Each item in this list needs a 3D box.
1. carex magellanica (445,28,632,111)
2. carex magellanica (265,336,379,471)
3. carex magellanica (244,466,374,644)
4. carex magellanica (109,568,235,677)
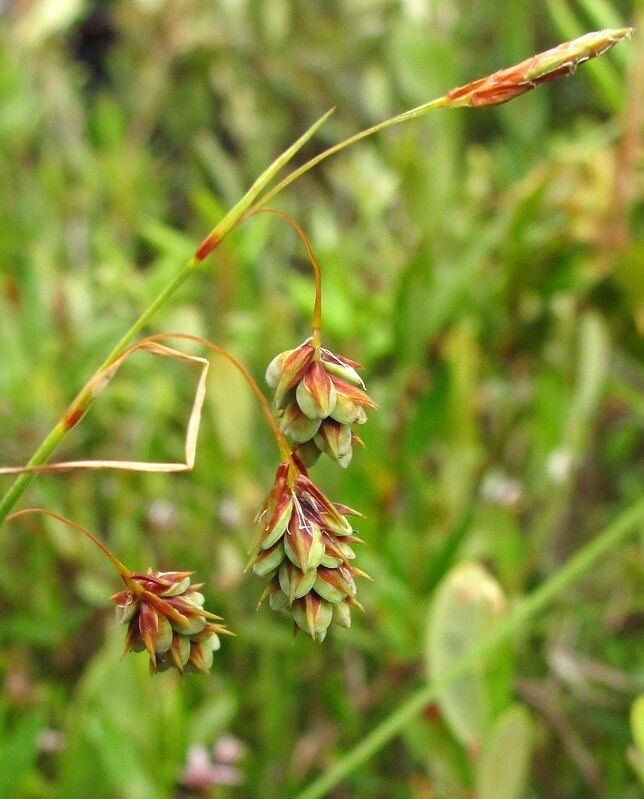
[{"bbox_3d":[0.088,-0.133,0.430,0.068,0.019,0.051,-22,21,-19],"label":"carex magellanica"},{"bbox_3d":[0.000,0.001,0.439,0.040,0.047,0.034,-17,20,-7],"label":"carex magellanica"},{"bbox_3d":[-0.006,0.065,0.439,0.036,0.059,0.034,4,-7,-33],"label":"carex magellanica"},{"bbox_3d":[-0.064,0.097,0.446,0.038,0.049,0.050,-20,21,-15],"label":"carex magellanica"}]
